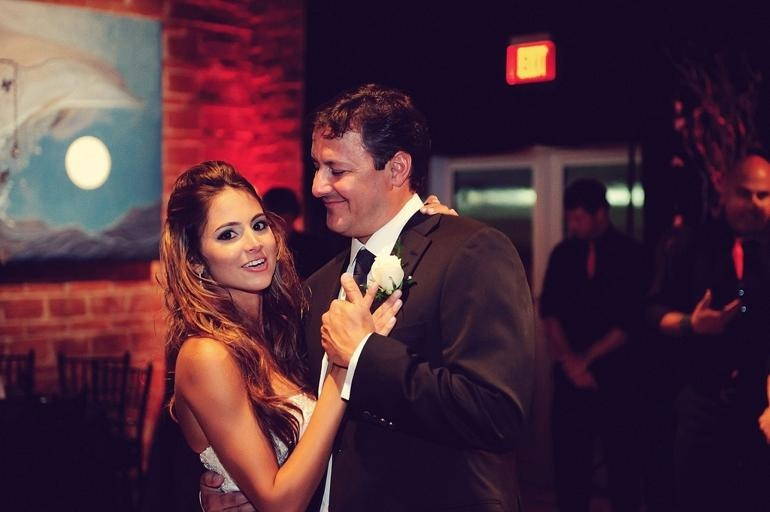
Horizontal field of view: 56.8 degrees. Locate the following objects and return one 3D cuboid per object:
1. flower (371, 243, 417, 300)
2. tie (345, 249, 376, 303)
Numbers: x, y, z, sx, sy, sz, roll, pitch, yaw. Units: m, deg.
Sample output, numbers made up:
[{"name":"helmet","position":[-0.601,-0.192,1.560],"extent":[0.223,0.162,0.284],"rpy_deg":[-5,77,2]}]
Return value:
[{"name":"flower","position":[0.024,0.105,3.742],"extent":[0.118,0.225,0.233],"rpy_deg":[31,11,6]},{"name":"tie","position":[-0.143,0.088,3.945],"extent":[0.076,0.341,0.091],"rpy_deg":[13,-21,-30]}]
